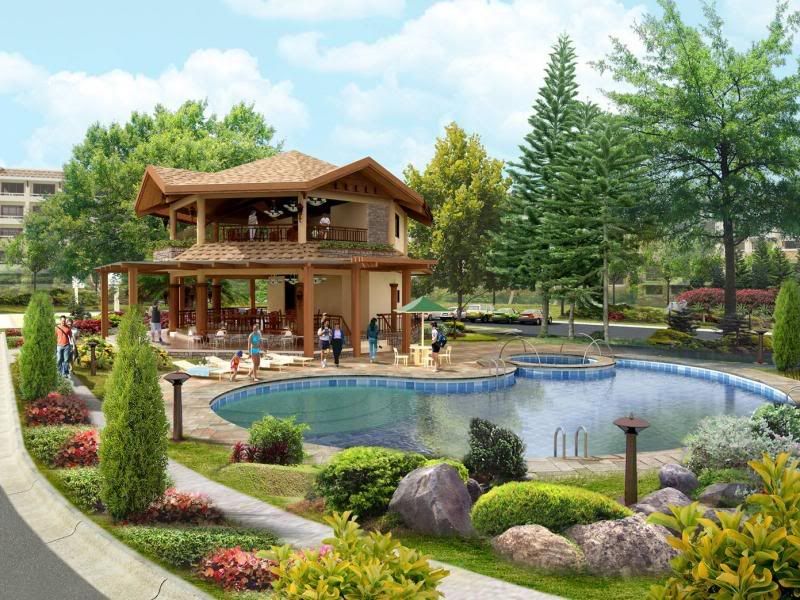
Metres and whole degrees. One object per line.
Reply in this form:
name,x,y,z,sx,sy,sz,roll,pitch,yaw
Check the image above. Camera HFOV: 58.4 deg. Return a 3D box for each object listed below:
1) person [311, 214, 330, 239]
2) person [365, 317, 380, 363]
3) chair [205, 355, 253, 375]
person,-3.685,-3.502,34.691,1.014,1.321,0.972,2,-2,-32
person,-1.064,1.630,29.077,0.317,1.709,1.225,1,-1,-7
chair,-6.354,2.362,25.844,1.611,0.525,0.832,-5,-3,37
